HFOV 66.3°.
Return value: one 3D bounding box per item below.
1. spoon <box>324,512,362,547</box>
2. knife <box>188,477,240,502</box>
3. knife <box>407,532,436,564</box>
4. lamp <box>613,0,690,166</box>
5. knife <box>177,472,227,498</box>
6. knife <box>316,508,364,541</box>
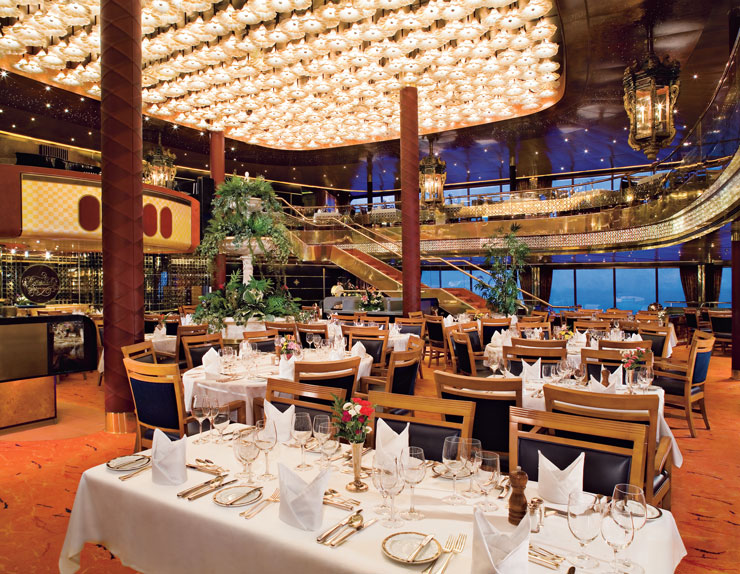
[{"bbox_3d":[-0.111,1.168,2.730,0.064,0.036,0.249,17,15,18],"label":"spoon"},{"bbox_3d":[-0.842,1.077,3.016,0.066,0.025,0.293,0,4,27],"label":"knife"},{"bbox_3d":[0.228,1.185,2.617,0.040,0.028,0.302,11,13,21],"label":"knife"},{"bbox_3d":[4.726,-3.409,9.600,0.780,2.571,1.863,0,-2,28],"label":"lamp"},{"bbox_3d":[-0.899,1.068,3.031,0.071,0.038,0.313,5,5,22],"label":"knife"},{"bbox_3d":[-0.129,1.159,2.751,0.076,0.031,0.294,9,9,25],"label":"knife"}]
